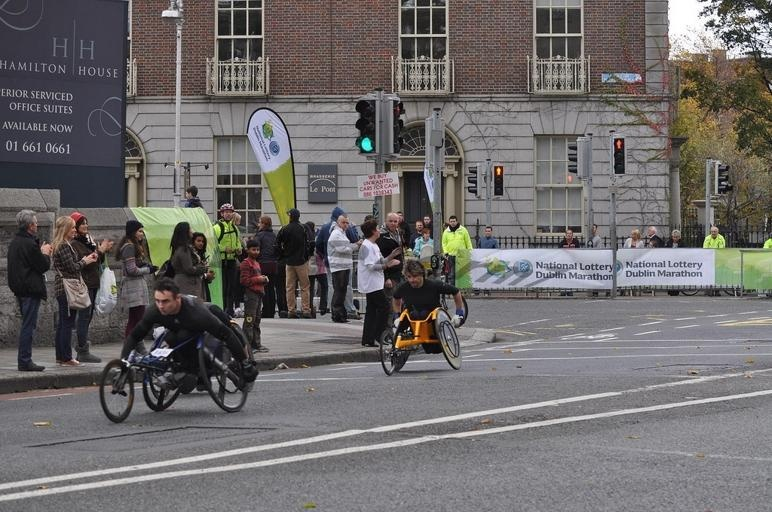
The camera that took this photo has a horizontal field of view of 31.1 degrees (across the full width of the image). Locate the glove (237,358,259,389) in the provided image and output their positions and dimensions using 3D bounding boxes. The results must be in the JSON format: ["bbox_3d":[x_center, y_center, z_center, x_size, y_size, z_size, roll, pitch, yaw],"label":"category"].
[{"bbox_3d":[-2.258,1.952,22.750,0.330,0.417,0.443,0,-1,-9],"label":"glove"}]

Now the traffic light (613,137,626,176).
[{"bbox_3d":[6.613,-2.766,39.109,0.324,1.001,0.331,0,9,7],"label":"traffic light"}]

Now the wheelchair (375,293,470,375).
[{"bbox_3d":[0.643,1.555,25.389,1.499,1.184,0.637,-1,9,-3],"label":"wheelchair"}]

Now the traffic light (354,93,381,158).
[{"bbox_3d":[-0.358,-2.703,29.403,0.497,1.272,0.507,-1,9,-1],"label":"traffic light"}]

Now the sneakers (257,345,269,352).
[{"bbox_3d":[-2.401,1.834,27.217,0.208,0.101,0.098,1,3,-9],"label":"sneakers"}]

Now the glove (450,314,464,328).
[{"bbox_3d":[1.383,1.276,26.637,0.200,0.100,0.282,1,-20,-2],"label":"glove"}]

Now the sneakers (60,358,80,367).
[{"bbox_3d":[-5.854,1.980,25.723,0.332,0.130,0.131,0,1,-6],"label":"sneakers"}]
